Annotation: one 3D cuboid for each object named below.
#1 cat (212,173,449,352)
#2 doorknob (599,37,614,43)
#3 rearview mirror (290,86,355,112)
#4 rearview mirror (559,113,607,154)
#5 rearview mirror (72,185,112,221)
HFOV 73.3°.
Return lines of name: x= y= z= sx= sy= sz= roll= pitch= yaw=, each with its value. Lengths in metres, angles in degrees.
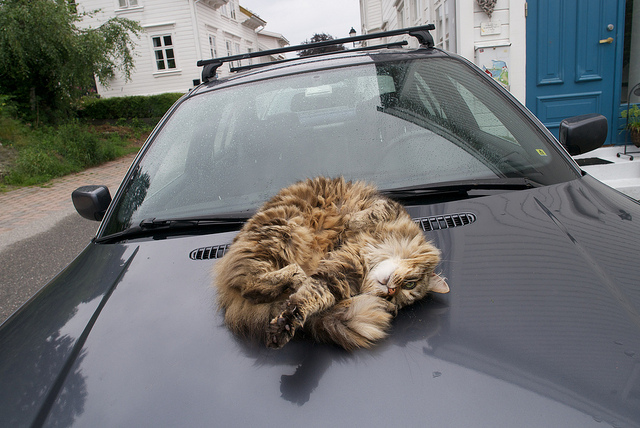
cat: x=0.074 y=0.170 z=1.718 sx=0.835 sy=0.346 sz=1.003 roll=-6 pitch=23 yaw=-12
doorknob: x=4.313 y=-2.602 z=6.452 sx=0.148 sy=0.037 sz=0.084 roll=-1 pitch=32 yaw=22
rearview mirror: x=0.013 y=-0.636 z=2.380 sx=0.358 sy=0.092 sz=0.117 roll=-3 pitch=23 yaw=6
rearview mirror: x=1.518 y=-0.451 z=2.486 sx=0.259 sy=0.198 sz=0.138 roll=-11 pitch=15 yaw=-10
rearview mirror: x=-1.241 y=-0.041 z=2.363 sx=0.195 sy=0.206 sz=0.124 roll=7 pitch=22 yaw=4
